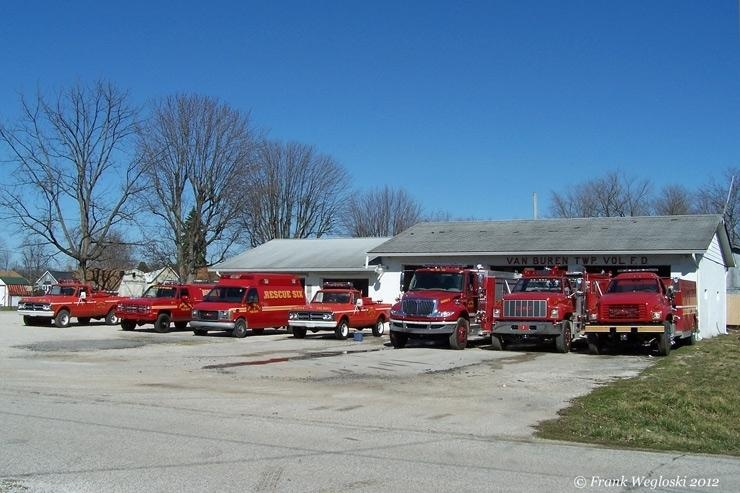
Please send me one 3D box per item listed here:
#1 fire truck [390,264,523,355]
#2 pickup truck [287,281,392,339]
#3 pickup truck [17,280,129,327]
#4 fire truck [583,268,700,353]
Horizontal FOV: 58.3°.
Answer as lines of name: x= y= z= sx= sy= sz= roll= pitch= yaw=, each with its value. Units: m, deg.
fire truck: x=3.462 y=2.225 z=26.958 sx=3.258 sy=2.840 sz=7.423 roll=2 pitch=1 yaw=27
pickup truck: x=-1.066 y=2.838 z=29.243 sx=2.214 sy=1.647 sz=4.140 roll=-3 pitch=-6 yaw=28
pickup truck: x=-15.537 y=3.017 z=34.927 sx=2.723 sy=1.942 sz=5.183 roll=1 pitch=-3 yaw=22
fire truck: x=10.498 y=2.454 z=25.149 sx=2.971 sy=2.669 sz=6.928 roll=-2 pitch=-5 yaw=33
